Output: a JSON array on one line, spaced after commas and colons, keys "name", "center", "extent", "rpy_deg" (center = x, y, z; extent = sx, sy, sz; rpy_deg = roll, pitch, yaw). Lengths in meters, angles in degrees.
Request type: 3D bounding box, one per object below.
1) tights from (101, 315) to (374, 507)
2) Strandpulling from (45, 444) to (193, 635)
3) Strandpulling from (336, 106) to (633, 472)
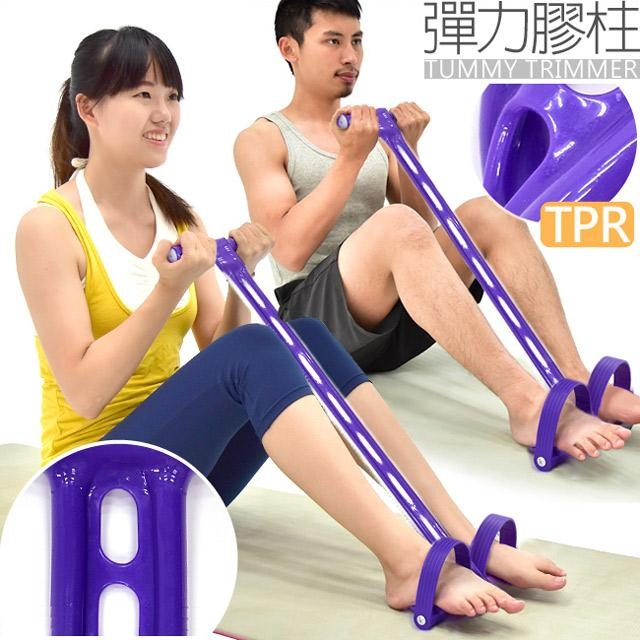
[{"name": "tights", "center": [-0.162, 0.167, 1.214], "extent": [0.324, 0.276, 0.497], "rpy_deg": [-16, 27, -35]}, {"name": "Strandpulling", "center": [-0.337, 0.368, 1.113], "extent": [0.238, 0.299, 0.096], "rpy_deg": [0, 4, -11]}, {"name": "Strandpulling", "center": [0.374, -0.049, 2.044], "extent": [0.573, 1.345, 0.321], "rpy_deg": [-36, -2, -22]}]
